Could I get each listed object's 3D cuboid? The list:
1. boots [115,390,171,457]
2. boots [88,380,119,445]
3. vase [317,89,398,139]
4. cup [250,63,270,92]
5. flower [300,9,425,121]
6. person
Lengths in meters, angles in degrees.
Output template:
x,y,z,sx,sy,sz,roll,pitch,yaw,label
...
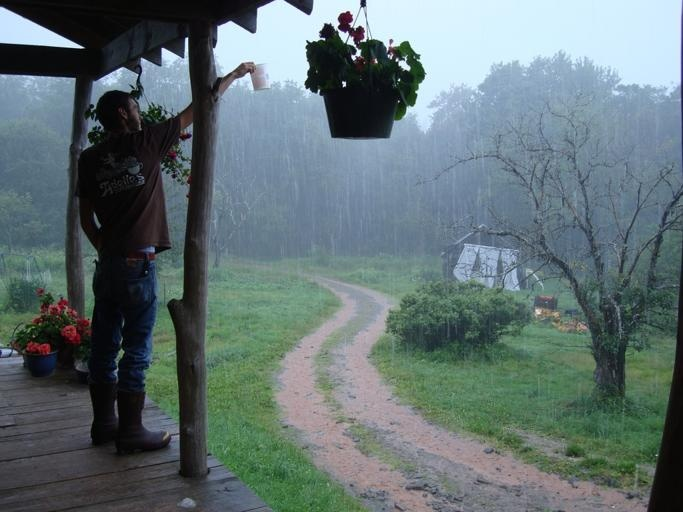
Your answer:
x,y,z,sx,sy,sz,roll,pitch,yaw,label
-2.051,1.731,6.679,0.590,0.658,0.278,4,-5,-41,boots
-2.487,1.673,6.890,0.253,0.680,0.644,-2,-2,7,boots
0.209,-1.439,6.396,0.528,0.308,0.530,0,2,-29,vase
-0.853,-1.940,6.912,0.247,0.311,0.269,-2,23,1,cup
0.285,-1.795,6.517,1.067,0.580,1.000,4,-38,-1,flower
-2.106,0.159,6.601,1.112,3.703,0.628,-3,9,-17,person
